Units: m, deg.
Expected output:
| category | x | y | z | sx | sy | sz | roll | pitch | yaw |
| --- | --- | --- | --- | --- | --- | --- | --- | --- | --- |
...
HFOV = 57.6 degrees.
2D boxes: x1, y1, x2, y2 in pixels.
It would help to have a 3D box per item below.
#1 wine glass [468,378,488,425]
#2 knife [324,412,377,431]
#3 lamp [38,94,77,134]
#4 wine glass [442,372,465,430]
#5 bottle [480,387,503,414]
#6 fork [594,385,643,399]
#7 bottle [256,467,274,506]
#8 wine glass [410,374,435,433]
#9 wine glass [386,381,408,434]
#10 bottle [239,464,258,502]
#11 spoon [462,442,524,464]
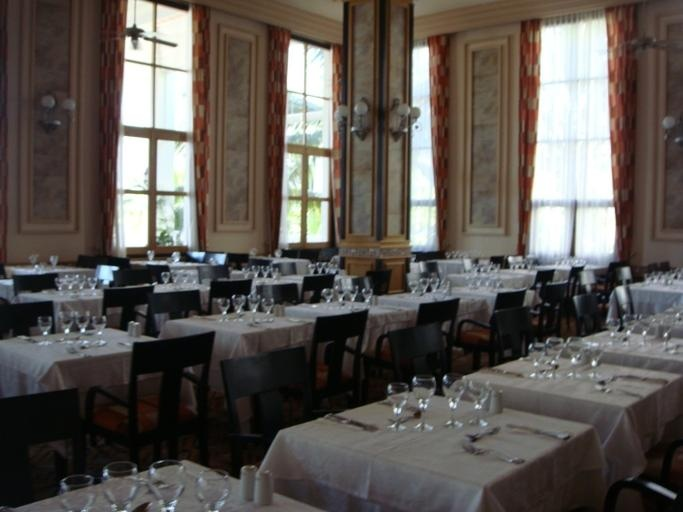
| category | x | y | z | sx | sy | sz | roll | pitch | yaw |
| --- | --- | --- | --- | --- | --- | --- | --- | --- | --- |
| wine glass | 0.634 | 0.646 | 2.834 | 0.095 | 0.186 | 0.278 | -1 | 2 | 14 |
| knife | 0.047 | 0.732 | 2.738 | 0.263 | 0.036 | 0.083 | 0 | 2 | 38 |
| lamp | -4.232 | -2.105 | 9.158 | 0.346 | 0.705 | 0.560 | 2 | 4 | 38 |
| wine glass | 0.519 | 0.636 | 2.842 | 0.097 | 0.212 | 0.318 | -1 | 2 | 10 |
| bottle | 0.707 | 0.691 | 2.943 | 0.075 | 0.144 | 0.135 | 0 | -4 | 8 |
| fork | 1.416 | 0.689 | 3.164 | 0.219 | 0.060 | 0.067 | 10 | 12 | 40 |
| bottle | -0.274 | 0.822 | 2.192 | 0.062 | 0.110 | 0.044 | -1 | 2 | -10 |
| wine glass | 0.374 | 0.638 | 2.827 | 0.089 | 0.216 | 0.357 | -1 | 2 | 6 |
| wine glass | 0.251 | 0.649 | 2.758 | 0.084 | 0.193 | 0.206 | -1 | 2 | 4 |
| bottle | -0.335 | 0.817 | 2.232 | 0.061 | 0.110 | 0.098 | -1 | 2 | -10 |
| spoon | 0.594 | 0.779 | 2.435 | 0.073 | 0.057 | 0.232 | 7 | 1 | -21 |
